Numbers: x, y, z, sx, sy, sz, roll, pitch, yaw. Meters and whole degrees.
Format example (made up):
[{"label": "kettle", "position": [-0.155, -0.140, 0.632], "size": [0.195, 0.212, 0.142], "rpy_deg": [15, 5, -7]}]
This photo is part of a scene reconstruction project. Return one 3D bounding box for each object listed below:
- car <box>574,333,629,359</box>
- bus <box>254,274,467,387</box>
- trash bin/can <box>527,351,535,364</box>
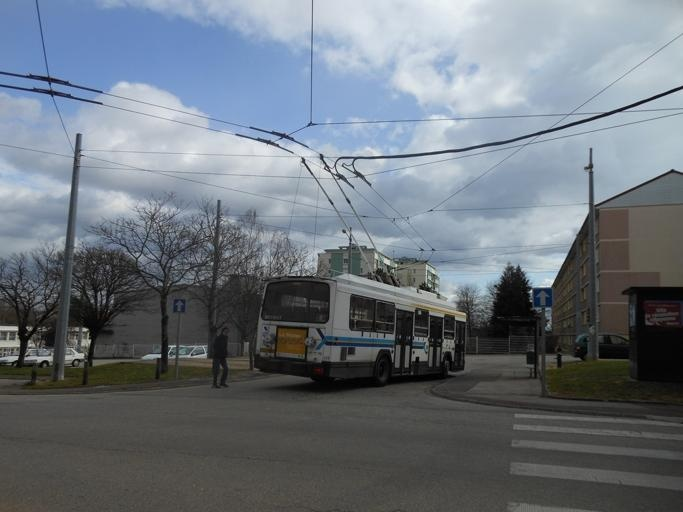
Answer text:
[{"label": "car", "position": [16.737, 5.894, 34.052], "size": [2.947, 1.607, 1.495], "rpy_deg": [-8, -15, 35]}, {"label": "bus", "position": [1.519, 3.048, 20.581], "size": [3.187, 3.605, 10.665], "rpy_deg": [-6, -10, 42]}, {"label": "trash bin/can", "position": [8.250, 4.474, 23.053], "size": [0.268, 0.553, 1.217], "rpy_deg": [-2, -13, 14]}]
